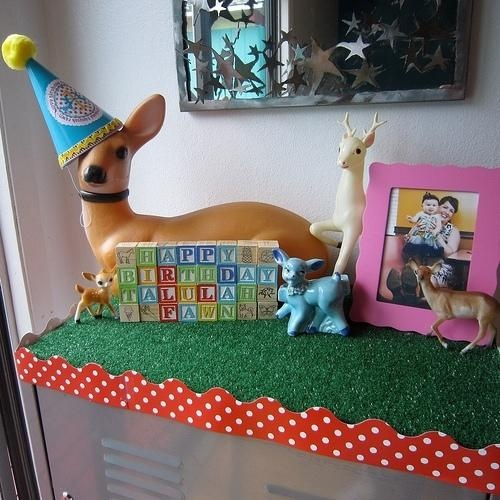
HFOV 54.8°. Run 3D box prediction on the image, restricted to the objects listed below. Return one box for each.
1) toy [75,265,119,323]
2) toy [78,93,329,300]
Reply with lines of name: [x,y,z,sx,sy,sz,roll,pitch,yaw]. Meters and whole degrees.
toy: [-0.307,0.083,0.947,0.081,0.096,0.092,-6,16,-20]
toy: [-0.162,-0.117,0.947,0.568,0.435,0.267,-2,7,-2]
